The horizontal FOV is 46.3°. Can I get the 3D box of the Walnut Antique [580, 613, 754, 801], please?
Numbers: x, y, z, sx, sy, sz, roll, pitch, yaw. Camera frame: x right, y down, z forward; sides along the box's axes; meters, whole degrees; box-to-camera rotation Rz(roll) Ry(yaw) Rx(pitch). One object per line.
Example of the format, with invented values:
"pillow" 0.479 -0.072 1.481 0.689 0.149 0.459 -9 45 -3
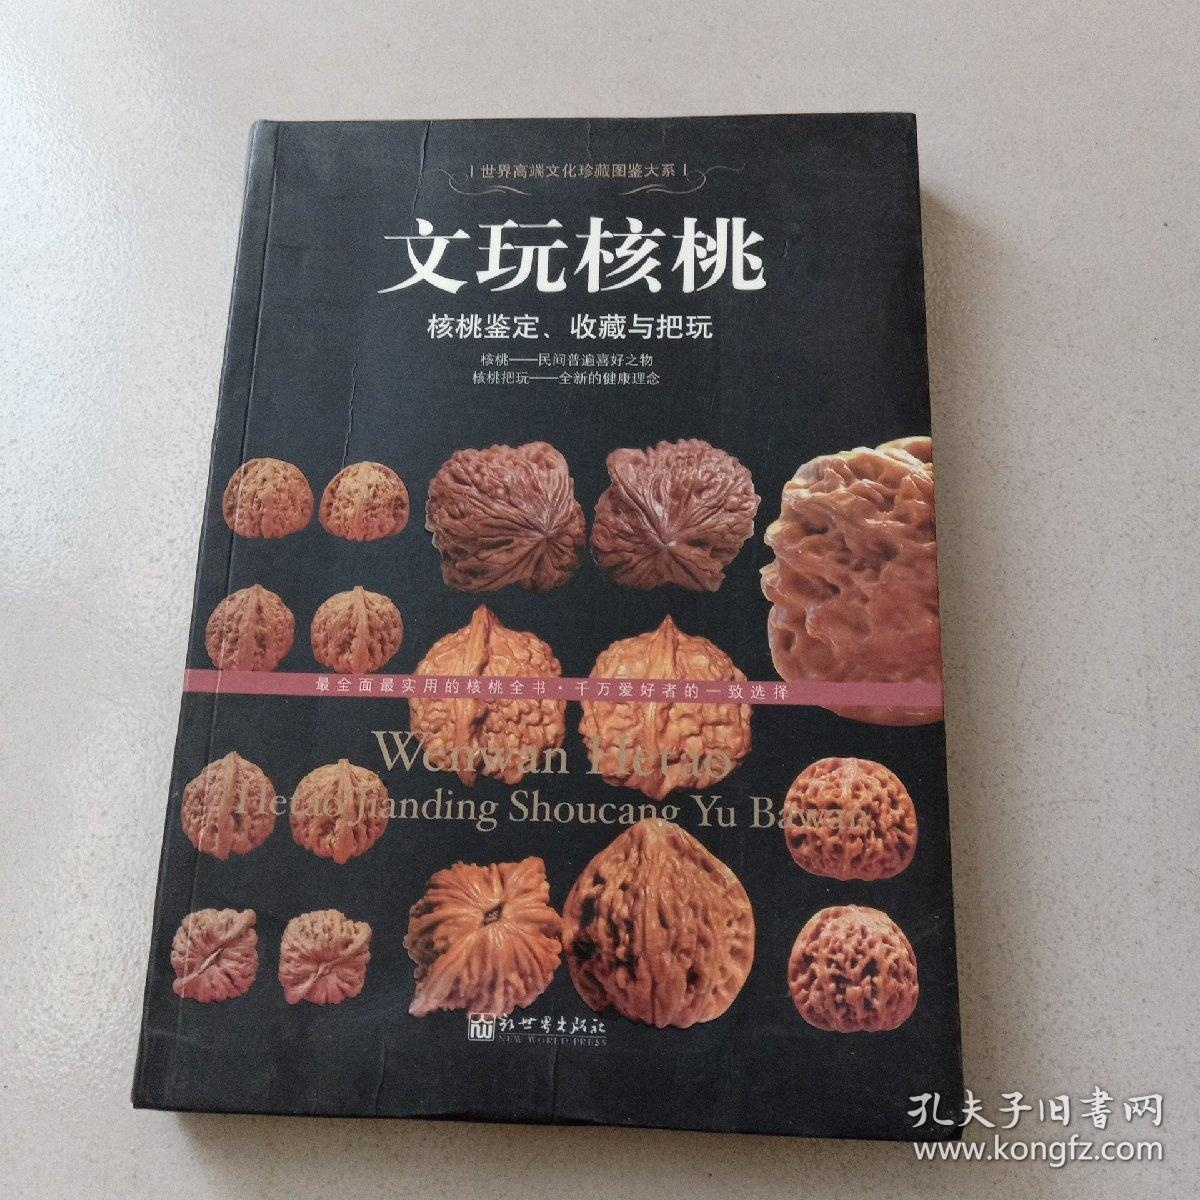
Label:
"Walnut Antique" 0.086 0.094 1.787 0.200 0.110 0.215 16 20 35
